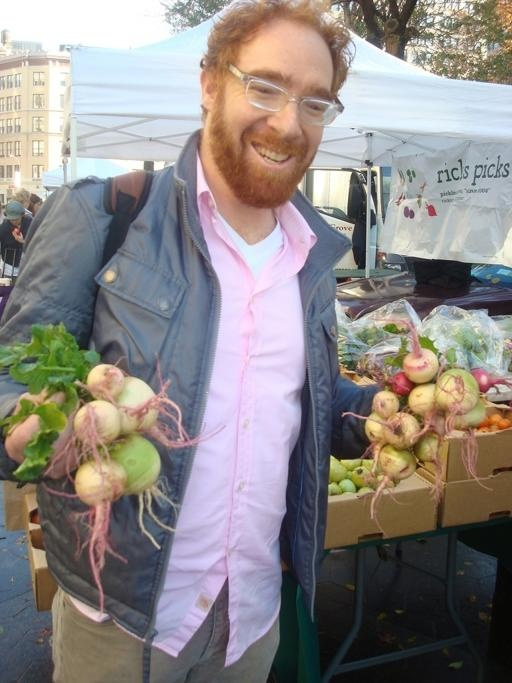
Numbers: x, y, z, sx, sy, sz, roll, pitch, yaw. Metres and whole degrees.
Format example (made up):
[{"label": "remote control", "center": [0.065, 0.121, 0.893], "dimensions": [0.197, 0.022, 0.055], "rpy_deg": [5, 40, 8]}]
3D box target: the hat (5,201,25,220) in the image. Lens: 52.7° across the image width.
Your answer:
[{"label": "hat", "center": [-3.829, -2.049, 8.186], "dimensions": [0.240, 0.337, 0.175], "rpy_deg": [5, -17, -25]}]
